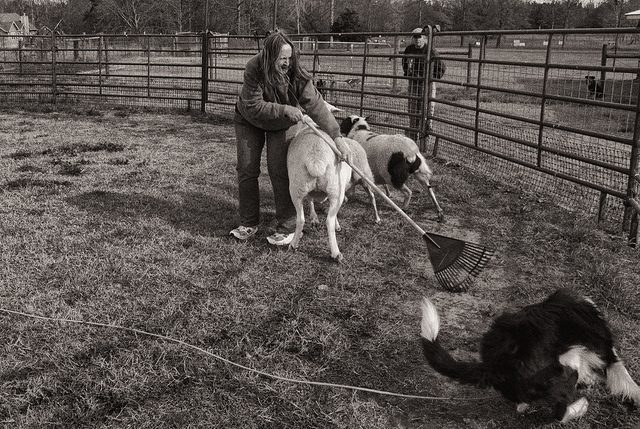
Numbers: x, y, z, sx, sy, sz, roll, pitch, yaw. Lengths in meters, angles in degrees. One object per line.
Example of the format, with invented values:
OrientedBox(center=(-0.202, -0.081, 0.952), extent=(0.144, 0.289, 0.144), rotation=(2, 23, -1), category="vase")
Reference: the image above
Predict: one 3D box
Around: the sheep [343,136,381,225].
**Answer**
OrientedBox(center=(0.716, -0.503, 7.689), extent=(0.427, 1.248, 1.742), rotation=(0, 5, 22), category="sheep")

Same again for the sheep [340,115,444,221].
OrientedBox(center=(1.066, -0.645, 7.736), extent=(0.553, 1.220, 1.855), rotation=(-25, 46, -28), category="sheep")

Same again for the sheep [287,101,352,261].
OrientedBox(center=(0.028, -0.511, 6.719), extent=(0.737, 1.601, 2.353), rotation=(2, 14, 2), category="sheep")
